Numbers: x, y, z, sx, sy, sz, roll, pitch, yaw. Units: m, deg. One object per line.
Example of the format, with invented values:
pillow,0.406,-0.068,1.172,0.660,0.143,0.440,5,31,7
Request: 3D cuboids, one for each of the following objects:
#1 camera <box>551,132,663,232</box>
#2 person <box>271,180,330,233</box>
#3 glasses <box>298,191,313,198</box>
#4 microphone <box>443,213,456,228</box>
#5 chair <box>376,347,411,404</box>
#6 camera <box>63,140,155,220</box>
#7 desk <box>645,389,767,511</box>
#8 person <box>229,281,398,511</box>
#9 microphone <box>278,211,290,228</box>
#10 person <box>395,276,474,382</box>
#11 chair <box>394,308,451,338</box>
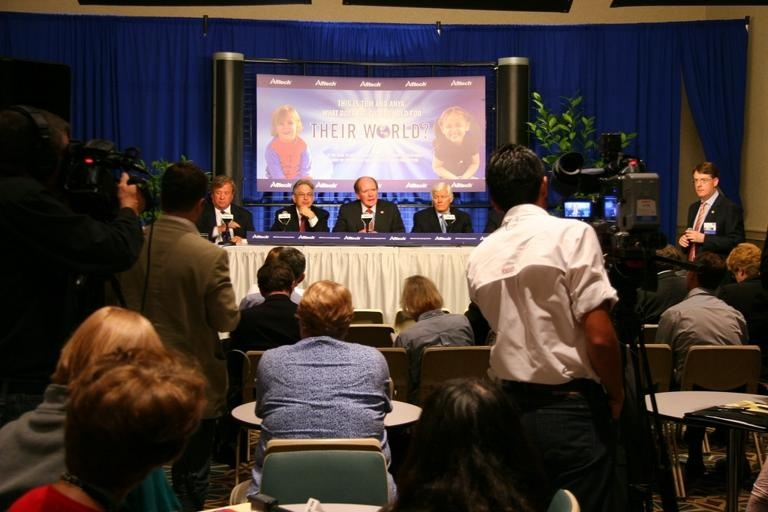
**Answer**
camera,0.992,-0.309,3.322,0.432,0.551,0.555,-2,-3,-8
person,-0.984,-0.607,8.325,0.622,0.600,1.084,1,5,0
glasses,-0.919,-0.732,8.351,0.179,0.072,0.073,-4,7,-44
microphone,0.799,-0.430,8.522,0.179,0.170,0.219,3,6,28
chair,0.097,0.740,4.418,0.237,0.420,0.313,0,6,3
camera,-1.067,-0.339,3.002,0.487,0.253,0.284,7,9,14
desk,1.586,0.942,3.590,0.647,0.420,0.634,-11,11,-43
person,-0.267,0.639,3.382,0.685,1.154,0.836,1,-26,-2
microphone,-1.116,-0.418,7.881,0.180,0.243,0.133,-1,-3,-5
person,0.301,0.455,4.684,0.504,0.894,0.643,-1,-9,-6
chair,0.298,0.455,4.693,0.361,0.166,0.294,2,5,11
